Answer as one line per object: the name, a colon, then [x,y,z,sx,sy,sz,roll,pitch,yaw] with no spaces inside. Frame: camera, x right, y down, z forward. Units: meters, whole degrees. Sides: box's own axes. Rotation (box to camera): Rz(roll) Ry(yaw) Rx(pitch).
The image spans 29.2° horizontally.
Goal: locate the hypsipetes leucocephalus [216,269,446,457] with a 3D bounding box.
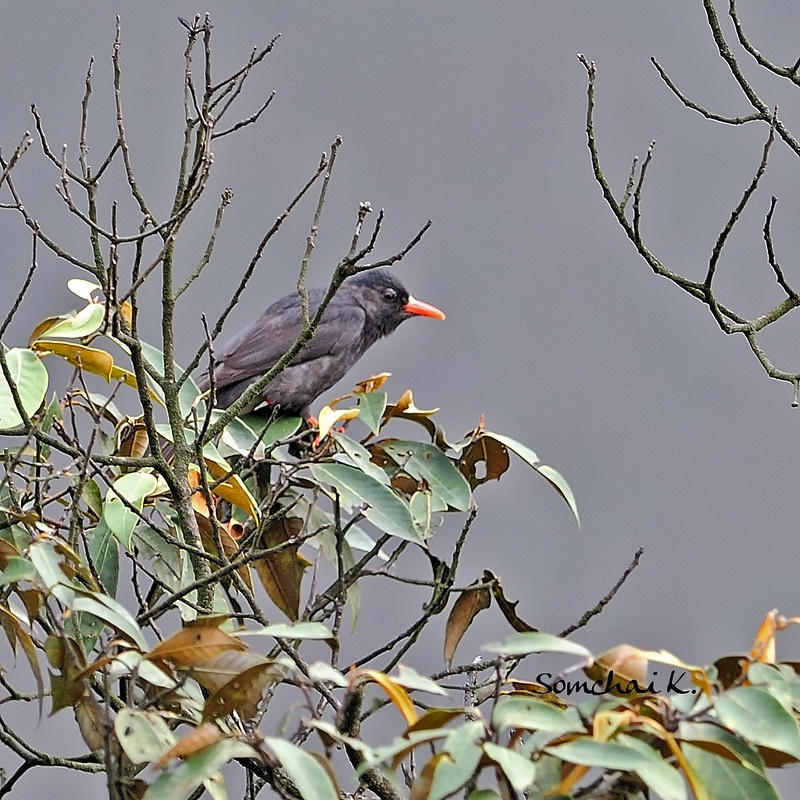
hypsipetes leucocephalus: [-0.290,-0.151,5.040,0.867,0.566,0.312,3,-6,-4]
